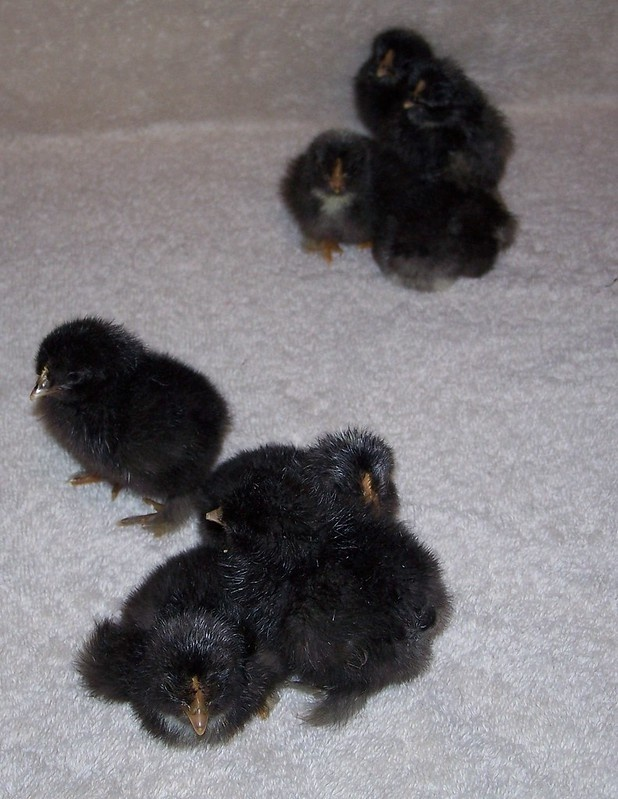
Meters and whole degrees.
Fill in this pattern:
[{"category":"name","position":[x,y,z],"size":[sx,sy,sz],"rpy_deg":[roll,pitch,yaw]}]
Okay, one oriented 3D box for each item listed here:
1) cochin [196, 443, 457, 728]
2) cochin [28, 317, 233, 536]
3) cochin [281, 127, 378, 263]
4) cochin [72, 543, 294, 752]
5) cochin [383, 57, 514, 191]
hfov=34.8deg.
[{"category":"cochin","position":[-0.027,0.357,1.662],"size":[0.443,0.294,0.309],"rpy_deg":[23,7,-17]},{"category":"cochin","position":[-0.328,0.029,1.759],"size":[0.366,0.350,0.271],"rpy_deg":[0,26,-22]},{"category":"cochin","position":[0.047,-0.371,1.760],"size":[0.168,0.202,0.205],"rpy_deg":[-1,72,5]},{"category":"cochin","position":[-0.208,0.394,1.617],"size":[0.361,0.248,0.325],"rpy_deg":[-3,82,-8]},{"category":"cochin","position":[0.246,-0.463,1.743],"size":[0.223,0.184,0.216],"rpy_deg":[14,52,6]}]
